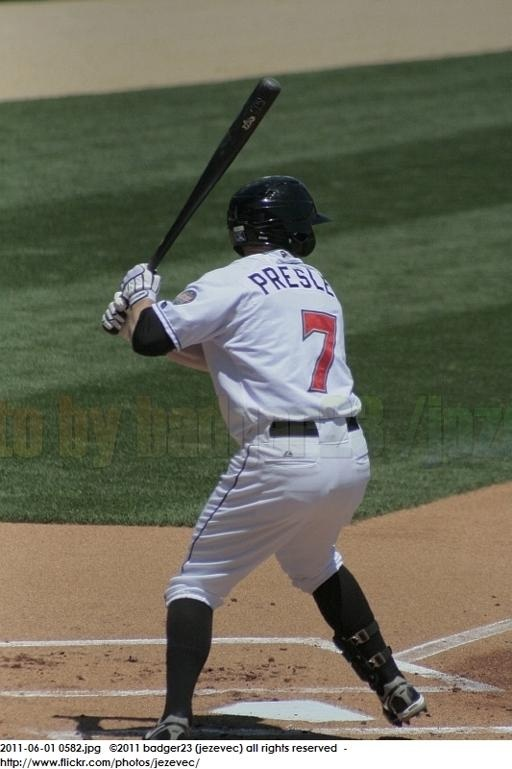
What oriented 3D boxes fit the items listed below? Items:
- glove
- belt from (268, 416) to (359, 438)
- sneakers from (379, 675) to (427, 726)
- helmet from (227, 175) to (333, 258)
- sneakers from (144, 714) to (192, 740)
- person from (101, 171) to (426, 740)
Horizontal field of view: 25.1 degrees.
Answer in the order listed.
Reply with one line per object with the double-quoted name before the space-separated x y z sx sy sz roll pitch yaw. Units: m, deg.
"glove" -0.471 -0.299 4.202 0.086 0.274 0.212 36 28 -38
"belt" 0.215 0.146 3.932 0.365 0.065 0.088 -1 7 -39
"sneakers" 0.519 1.127 4.103 0.126 0.092 0.271 46 -5 0
"helmet" 0.080 -0.626 4.294 0.431 0.291 0.294 -7 15 -27
"sneakers" -0.285 1.132 3.781 0.156 0.056 0.065 -2 -12 12
"person" 0.040 0.242 4.128 0.988 1.993 0.672 1 7 -22
